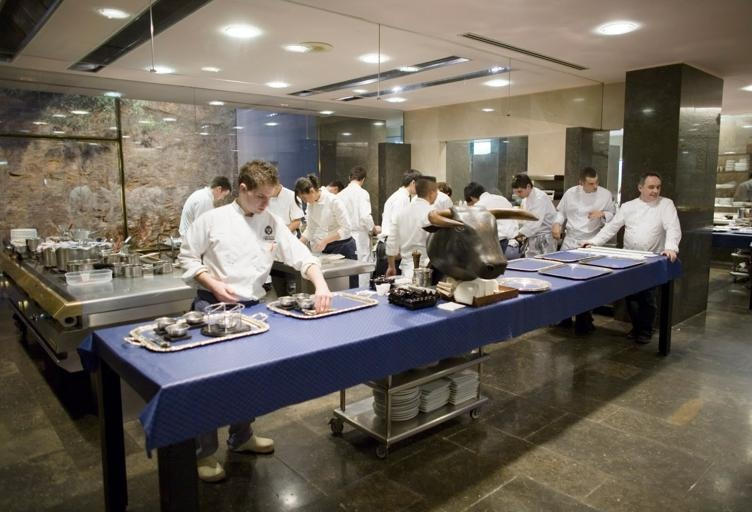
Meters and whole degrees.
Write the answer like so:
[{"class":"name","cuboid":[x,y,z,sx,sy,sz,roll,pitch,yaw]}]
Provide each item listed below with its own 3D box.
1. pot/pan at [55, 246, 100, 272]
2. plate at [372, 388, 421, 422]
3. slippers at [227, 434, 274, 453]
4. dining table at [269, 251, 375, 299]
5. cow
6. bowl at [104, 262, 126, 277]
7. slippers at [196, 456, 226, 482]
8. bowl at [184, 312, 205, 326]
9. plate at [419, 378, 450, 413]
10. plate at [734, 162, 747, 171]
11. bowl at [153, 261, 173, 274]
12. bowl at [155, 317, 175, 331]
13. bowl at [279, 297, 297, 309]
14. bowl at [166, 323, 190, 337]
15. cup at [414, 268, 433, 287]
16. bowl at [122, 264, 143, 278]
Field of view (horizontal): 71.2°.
[{"class":"pot/pan","cuboid":[-2.927,0.040,5.125,0.279,0.167,0.282,-1,-1,18]},{"class":"plate","cuboid":[0.182,1.150,4.208,0.338,0.206,0.327,0,-3,-6]},{"class":"slippers","cuboid":[-1.001,1.496,4.176,0.324,0.129,0.150,-2,3,-8]},{"class":"dining table","cuboid":[-0.623,0.185,5.815,0.683,0.652,0.663,-4,11,-23]},{"class":"cow","cuboid":[0.717,-0.116,3.966,0.643,0.425,0.689,-4,5,-17]},{"class":"bowl","cuboid":[-2.509,0.126,5.059,0.173,0.120,0.132,2,-3,-36]},{"class":"slippers","cuboid":[-1.231,1.587,3.932,0.161,0.122,0.300,4,-6,-43]},{"class":"bowl","cuboid":[-1.244,0.428,3.584,0.104,0.038,0.093,1,12,-1]},{"class":"plate","cuboid":[0.495,1.190,4.482,0.265,0.122,0.215,-4,3,-38]},{"class":"plate","cuboid":[7.409,-1.816,10.664,0.269,0.176,0.149,4,9,33]},{"class":"bowl","cuboid":[-2.081,0.119,5.140,0.142,0.095,0.139,1,-2,0]},{"class":"bowl","cuboid":[-1.395,0.448,3.486,0.097,0.044,0.108,8,9,36]},{"class":"bowl","cuboid":[-0.656,0.341,3.885,0.098,0.042,0.099,2,2,0]},{"class":"bowl","cuboid":[-1.285,0.468,3.416,0.103,0.039,0.112,2,0,0]},{"class":"cup","cuboid":[0.382,0.176,4.323,0.152,0.144,0.151,0,5,0]},{"class":"bowl","cuboid":[-2.321,0.135,5.005,0.143,0.097,0.139,2,2,0]}]
